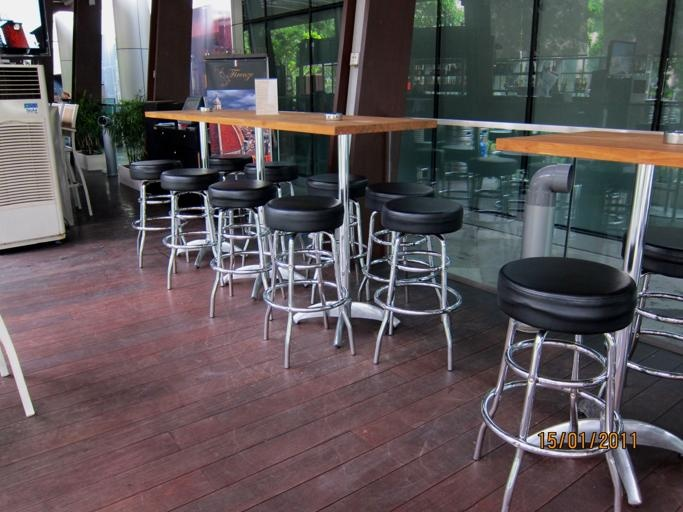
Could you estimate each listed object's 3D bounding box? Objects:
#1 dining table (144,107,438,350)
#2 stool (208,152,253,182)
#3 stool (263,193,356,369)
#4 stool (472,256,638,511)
[{"bbox_3d":[-0.342,-0.175,3.667,2.243,1.229,0.807,17,29,42],"label":"dining table"},{"bbox_3d":[-1.030,-0.850,4.525,0.406,0.209,0.344,-4,24,-14],"label":"stool"},{"bbox_3d":[-0.283,-0.009,3.465,0.601,0.937,1.620,-5,17,-7],"label":"stool"},{"bbox_3d":[0.890,0.504,2.042,0.607,0.982,0.727,3,20,14],"label":"stool"}]
